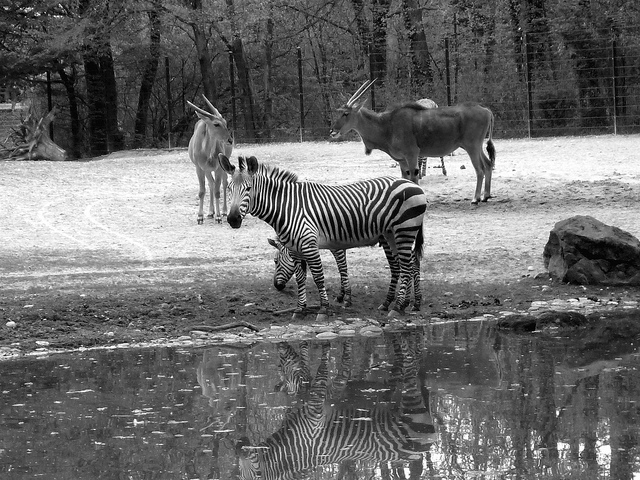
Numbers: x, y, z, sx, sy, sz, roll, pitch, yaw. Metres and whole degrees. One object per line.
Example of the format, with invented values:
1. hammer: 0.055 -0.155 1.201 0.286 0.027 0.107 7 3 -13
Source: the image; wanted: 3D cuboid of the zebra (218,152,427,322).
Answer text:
1. zebra: 0.064 -0.033 10.249 2.518 1.811 0.701 0 1 -9
